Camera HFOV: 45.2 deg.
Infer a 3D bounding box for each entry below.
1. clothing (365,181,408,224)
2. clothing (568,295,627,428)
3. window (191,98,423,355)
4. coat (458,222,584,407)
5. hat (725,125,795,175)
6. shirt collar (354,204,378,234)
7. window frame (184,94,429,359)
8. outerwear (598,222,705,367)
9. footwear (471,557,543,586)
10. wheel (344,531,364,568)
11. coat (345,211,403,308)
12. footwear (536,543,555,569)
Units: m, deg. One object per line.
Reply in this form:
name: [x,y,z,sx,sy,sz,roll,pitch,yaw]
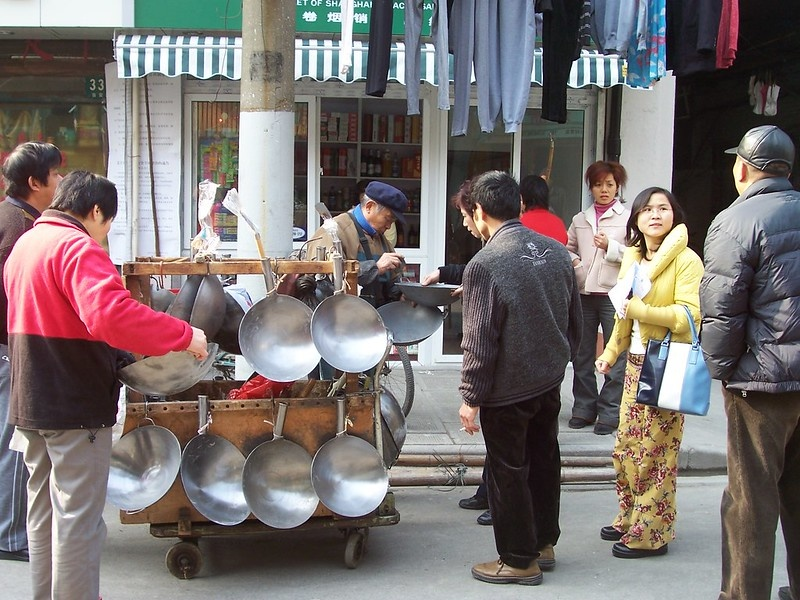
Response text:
clothing: [-0.096,-0.731,7.022,0.318,0.171,0.229,31,2,15]
clothing: [1.715,0.414,8.455,0.442,1.525,0.363,-6,30,4]
window: [-0.820,-0.655,7.707,2.580,2.552,0.285,0,3,-6]
coat: [0.765,0.074,6.089,0.968,1.086,0.495,-13,15,-36]
hat: [2.126,-0.889,5.719,0.236,0.190,0.333,-14,26,-27]
shirt collar: [-0.282,-0.602,7.102,0.075,0.159,0.189,-32,30,-3]
window frame: [-0.985,-0.797,10.534,2.900,2.876,0.399,4,10,11]
outerwear: [1.676,-0.010,6.410,0.626,0.972,0.475,6,15,20]
footwear: [0.668,1.713,6.130,0.430,0.223,0.169,4,6,17]
wheel: [-0.301,1.604,6.170,0.065,0.217,0.211,3,8,14]
coat: [-0.228,-0.304,7.107,0.229,0.636,0.459,-17,-5,33]
footwear: [0.917,1.659,6.258,0.087,0.147,0.186,0,4,0]
